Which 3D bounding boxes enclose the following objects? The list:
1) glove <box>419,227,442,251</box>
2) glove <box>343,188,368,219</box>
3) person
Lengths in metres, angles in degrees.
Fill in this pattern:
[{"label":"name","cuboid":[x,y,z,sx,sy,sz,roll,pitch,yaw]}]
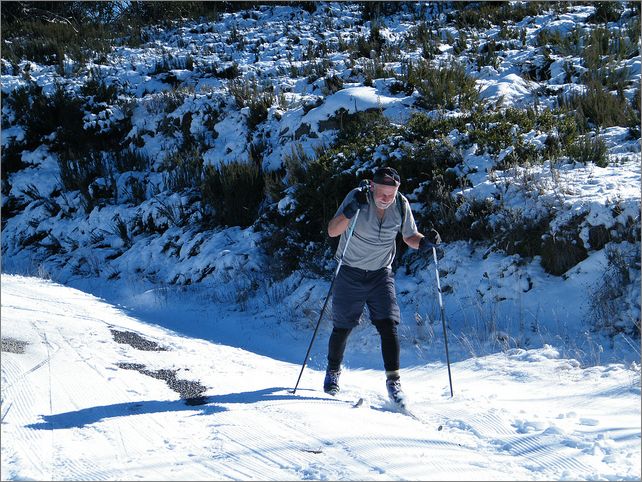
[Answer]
[{"label":"glove","cuboid":[1.519,-0.048,9.544,0.237,0.311,0.131,39,30,-9]},{"label":"glove","cuboid":[0.450,-0.510,9.201,0.140,0.373,0.288,25,28,-31]},{"label":"person","cuboid":[0.652,0.561,9.486,1.242,3.137,0.698,0,9,8]}]
